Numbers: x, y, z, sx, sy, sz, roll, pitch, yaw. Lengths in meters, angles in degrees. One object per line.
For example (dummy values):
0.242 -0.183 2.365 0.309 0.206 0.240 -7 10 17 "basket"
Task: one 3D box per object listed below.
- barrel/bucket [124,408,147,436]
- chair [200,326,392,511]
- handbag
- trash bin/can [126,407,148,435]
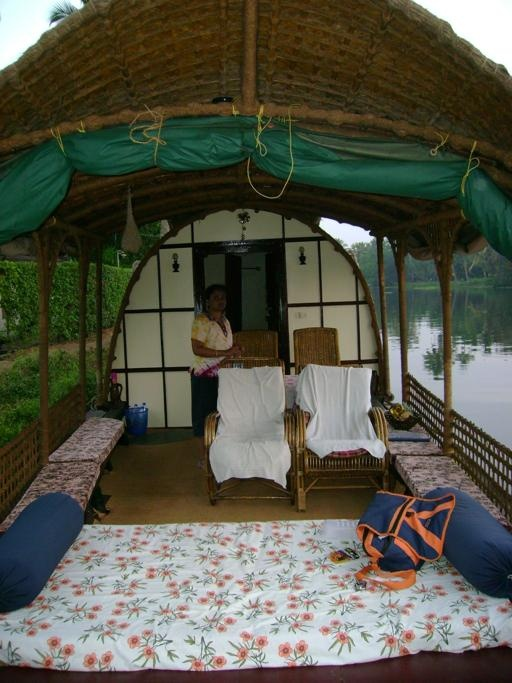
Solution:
-1.698 1.129 7.261 0.370 0.365 0.334 3 -5 -43 "barrel/bucket"
0.547 0.705 5.364 1.371 1.106 2.183 -1 1 3 "chair"
0.834 1.049 2.877 0.410 0.169 0.439 16 51 45 "handbag"
-1.688 1.126 7.262 0.301 0.355 0.367 -1 -8 3 "trash bin/can"
